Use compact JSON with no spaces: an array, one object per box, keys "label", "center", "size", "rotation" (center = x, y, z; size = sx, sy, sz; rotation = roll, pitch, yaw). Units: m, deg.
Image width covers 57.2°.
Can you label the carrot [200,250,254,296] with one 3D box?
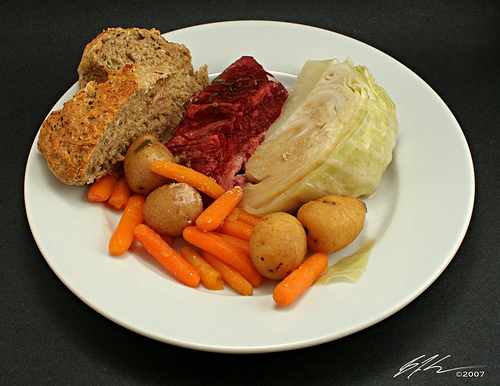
[{"label":"carrot","center":[-0.156,0.515,3.006],"size":[0.430,0.160,0.098],"rotation":[37,82,7]}]

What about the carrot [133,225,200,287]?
[{"label":"carrot","center":[-0.558,0.416,3.008],"size":[0.577,0.152,0.150],"rotation":[36,34,17]}]

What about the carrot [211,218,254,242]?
[{"label":"carrot","center":[-0.152,0.249,3.182],"size":[0.350,0.106,0.099],"rotation":[9,2,16]}]

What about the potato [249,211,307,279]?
[{"label":"potato","center":[0.159,0.296,2.951],"size":[0.370,0.353,0.413],"rotation":[2,30,4]}]

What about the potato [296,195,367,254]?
[{"label":"potato","center":[0.551,0.174,3.020],"size":[0.469,0.294,0.360],"rotation":[-27,80,-4]}]

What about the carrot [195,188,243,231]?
[{"label":"carrot","center":[-0.197,0.087,3.181],"size":[0.139,0.142,0.458],"rotation":[39,49,13]}]

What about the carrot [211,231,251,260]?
[{"label":"carrot","center":[-0.133,0.330,3.051],"size":[0.241,0.132,0.160],"rotation":[-21,36,-33]}]

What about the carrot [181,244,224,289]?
[{"label":"carrot","center":[-0.322,0.481,3.066],"size":[0.128,0.123,0.467],"rotation":[-40,65,-9]}]

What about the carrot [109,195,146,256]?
[{"label":"carrot","center":[-0.826,0.210,3.145],"size":[0.133,0.120,0.446],"rotation":[13,39,2]}]

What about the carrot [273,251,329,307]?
[{"label":"carrot","center":[0.305,0.518,2.838],"size":[0.136,0.159,0.521],"rotation":[42,61,14]}]

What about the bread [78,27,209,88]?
[{"label":"bread","center":[-0.842,-1.063,3.710],"size":[0.842,0.568,1.083],"rotation":[-13,34,-11]}]
